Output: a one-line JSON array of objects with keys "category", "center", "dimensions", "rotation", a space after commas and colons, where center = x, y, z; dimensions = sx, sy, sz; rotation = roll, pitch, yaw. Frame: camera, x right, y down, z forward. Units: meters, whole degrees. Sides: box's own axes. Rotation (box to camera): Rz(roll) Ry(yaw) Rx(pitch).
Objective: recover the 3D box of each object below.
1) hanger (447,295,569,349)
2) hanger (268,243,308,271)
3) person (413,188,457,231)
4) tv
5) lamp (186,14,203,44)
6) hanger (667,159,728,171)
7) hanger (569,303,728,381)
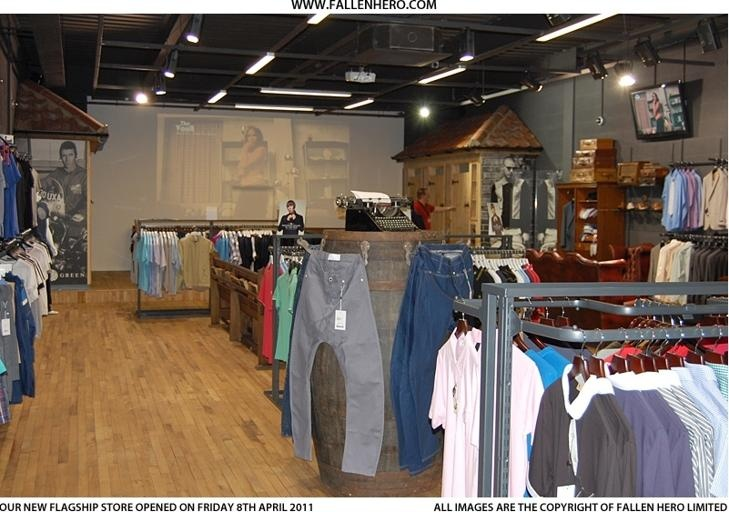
[{"category": "hanger", "center": [0.724, 0.349, 2.849], "dimensions": [0.511, 0.168, 0.370], "rotation": [-1, 5, -13]}, {"category": "hanger", "center": [-0.879, 0.006, 6.413], "dimensions": [0.461, 0.164, 0.356], "rotation": [1, 7, 7]}, {"category": "person", "center": [1.628, -1.060, 12.274], "dimensions": [0.501, 1.580, 1.367], "rotation": [1, 8, 27]}, {"category": "tv", "center": [4.847, -2.415, 8.914], "dimensions": [0.164, 0.926, 1.218], "rotation": [-10, 4, -23]}, {"category": "lamp", "center": [-2.310, -3.093, 7.378], "dimensions": [0.199, 0.315, 0.520], "rotation": [-1, 6, -18]}, {"category": "hanger", "center": [4.907, -1.347, 7.924], "dimensions": [0.550, 0.175, 1.071], "rotation": [1, 6, 3]}, {"category": "hanger", "center": [1.528, 0.479, 2.784], "dimensions": [0.715, 0.273, 0.522], "rotation": [1, -4, -22]}]
